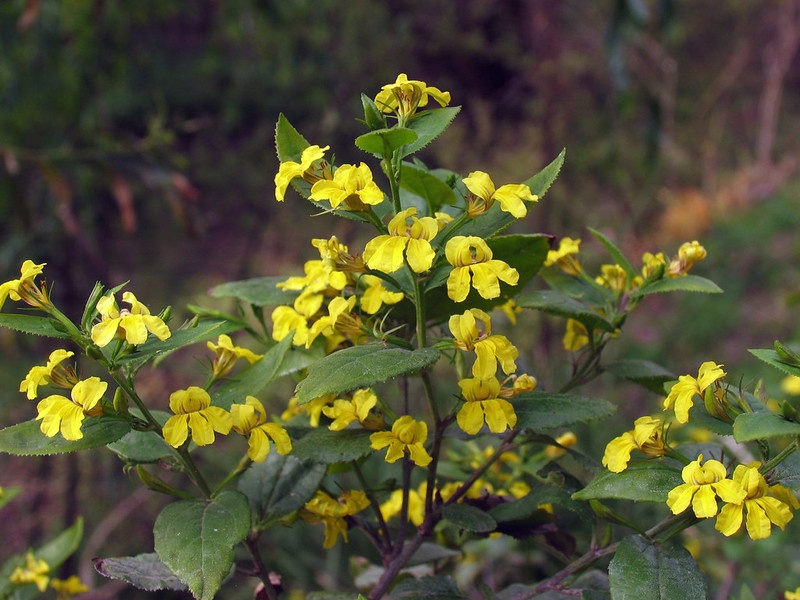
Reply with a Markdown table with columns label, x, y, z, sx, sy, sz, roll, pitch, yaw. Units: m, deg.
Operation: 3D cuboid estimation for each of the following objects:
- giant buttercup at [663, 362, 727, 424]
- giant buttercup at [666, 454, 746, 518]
| label | x | y | z | sx | sy | sz | roll | pitch | yaw |
| --- | --- | --- | --- | --- | --- | --- | --- | --- | --- |
| giant buttercup | 1.004 | 0.317 | 3.582 | 0.204 | 0.299 | 0.107 | -13 | 94 | -36 |
| giant buttercup | 1.016 | 0.595 | 3.573 | 0.247 | 0.275 | 0.141 | 6 | 86 | 1 |
